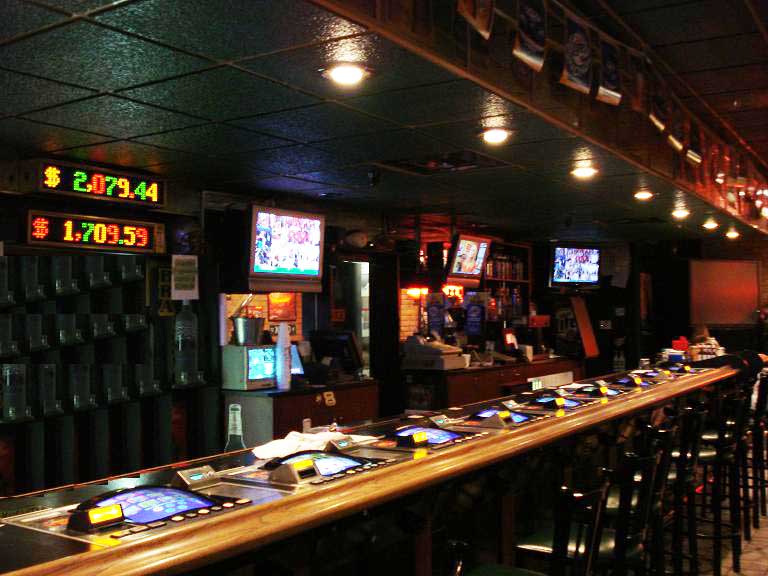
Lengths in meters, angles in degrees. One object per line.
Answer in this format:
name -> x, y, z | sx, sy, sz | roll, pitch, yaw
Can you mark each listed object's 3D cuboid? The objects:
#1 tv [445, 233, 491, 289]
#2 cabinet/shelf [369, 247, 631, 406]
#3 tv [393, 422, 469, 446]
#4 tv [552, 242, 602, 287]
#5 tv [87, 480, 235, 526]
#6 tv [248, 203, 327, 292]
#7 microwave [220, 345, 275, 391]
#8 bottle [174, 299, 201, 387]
tv -> 1.043, -0.372, 9.028 | 0.125, 0.611, 1.045 | 17, 5, 28
cabinet/shelf -> 1.715, 0.907, 10.254 | 1.245, 2.862, 4.136 | 6, 5, 42
tv -> 0.228, 0.733, 3.605 | 0.342, 0.056, 0.533 | 1, 2, -1
tv -> 3.111, -0.367, 11.633 | 0.162, 0.681, 1.548 | 4, 3, 44
tv -> -0.781, 0.754, 2.485 | 0.404, 0.055, 0.368 | 2, 2, 22
tv -> -0.917, -0.351, 6.651 | 0.157, 0.773, 0.863 | 5, 3, 35
microwave -> -1.276, 0.743, 6.755 | 0.353, 0.336, 0.476 | -3, -3, 36
bottle -> -1.786, 0.516, 6.442 | 0.085, 0.761, 0.274 | 5, 4, 34
